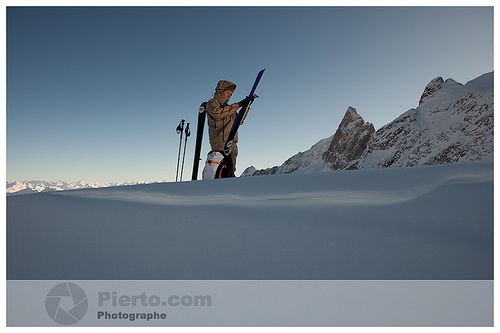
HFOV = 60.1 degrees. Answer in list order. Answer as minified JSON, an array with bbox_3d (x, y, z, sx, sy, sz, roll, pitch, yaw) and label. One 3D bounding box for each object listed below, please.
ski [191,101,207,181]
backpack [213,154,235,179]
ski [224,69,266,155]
[{"bbox_3d":[-0.625,-0.285,5.469,0.146,1.156,0.097,4,0,-36],"label":"ski"},{"bbox_3d":[-0.378,-0.003,6.081,0.233,0.352,0.183,-12,-23,38],"label":"backpack"},{"bbox_3d":[-0.168,-0.638,5.609,0.090,1.325,0.140,26,-9,-40],"label":"ski"}]
